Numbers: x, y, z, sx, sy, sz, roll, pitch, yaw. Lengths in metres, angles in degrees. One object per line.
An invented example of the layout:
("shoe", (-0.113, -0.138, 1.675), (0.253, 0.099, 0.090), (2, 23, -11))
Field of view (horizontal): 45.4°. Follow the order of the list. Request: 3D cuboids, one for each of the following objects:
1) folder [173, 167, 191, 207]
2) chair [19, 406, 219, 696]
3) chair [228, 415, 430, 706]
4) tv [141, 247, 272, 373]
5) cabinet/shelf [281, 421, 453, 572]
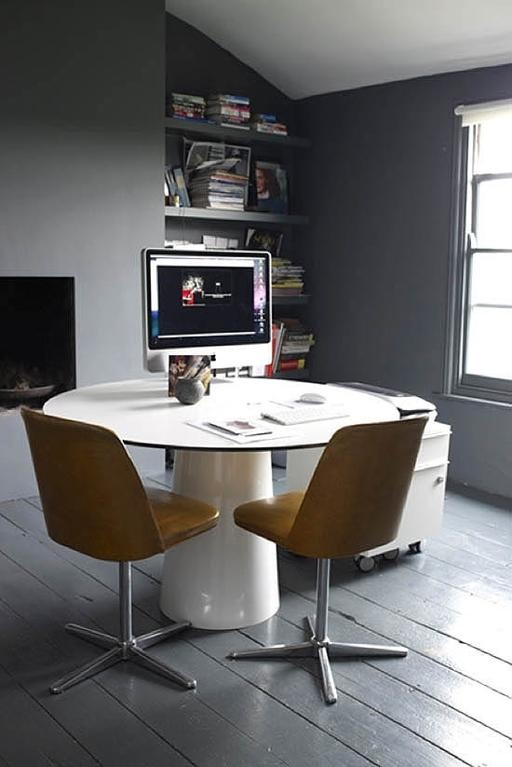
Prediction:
("folder", (-0.411, -1.093, 3.423), (0.062, 0.208, 0.133), (2, 4, 16))
("chair", (-0.316, 0.356, 1.443), (0.400, 0.643, 0.420), (9, 13, 34))
("chair", (0.203, 0.394, 1.516), (0.393, 0.671, 0.456), (-1, 4, -34))
("tv", (-0.166, -0.243, 1.970), (0.401, 0.364, 0.070), (3, -4, -37))
("cabinet/shelf", (0.429, 0.387, 2.540), (0.435, 0.645, 0.651), (-2, 8, -26))
